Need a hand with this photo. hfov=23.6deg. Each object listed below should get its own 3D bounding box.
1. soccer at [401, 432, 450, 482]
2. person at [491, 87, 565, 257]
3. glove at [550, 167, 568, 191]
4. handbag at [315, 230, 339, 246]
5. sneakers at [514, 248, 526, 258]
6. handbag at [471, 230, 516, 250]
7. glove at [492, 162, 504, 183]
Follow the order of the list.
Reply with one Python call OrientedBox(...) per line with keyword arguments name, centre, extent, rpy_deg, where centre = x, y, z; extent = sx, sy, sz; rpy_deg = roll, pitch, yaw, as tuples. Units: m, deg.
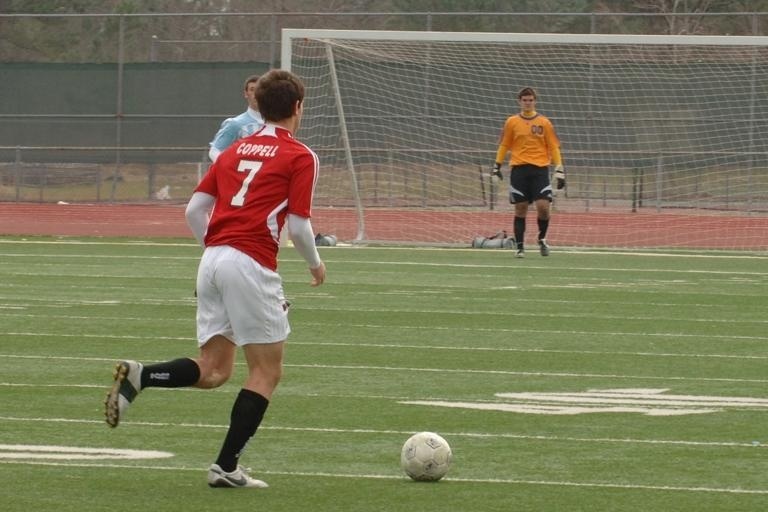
OrientedBox(name="soccer", centre=(0.547, 2.681, 24.551), extent=(0.634, 0.488, 0.519), rpy_deg=(-4, 36, 26))
OrientedBox(name="person", centre=(2.635, -1.507, 33.581), extent=(1.100, 3.027, 0.873), rpy_deg=(2, 1, -9))
OrientedBox(name="glove", centre=(3.262, -1.428, 33.768), extent=(0.452, 0.387, 0.232), rpy_deg=(6, -9, -6))
OrientedBox(name="handbag", centre=(-1.166, -0.359, 36.402), extent=(0.470, 0.223, 0.542), rpy_deg=(2, -1, 6))
OrientedBox(name="sneakers", centre=(2.529, -0.064, 34.011), extent=(0.190, 0.170, 0.210), rpy_deg=(7, -7, -8))
OrientedBox(name="handbag", centre=(2.174, -0.312, 36.213), extent=(0.696, 0.214, 0.419), rpy_deg=(-3, -2, 18))
OrientedBox(name="glove", centre=(2.105, -1.541, 34.006), extent=(0.200, 0.374, 0.373), rpy_deg=(-9, 45, 5))
